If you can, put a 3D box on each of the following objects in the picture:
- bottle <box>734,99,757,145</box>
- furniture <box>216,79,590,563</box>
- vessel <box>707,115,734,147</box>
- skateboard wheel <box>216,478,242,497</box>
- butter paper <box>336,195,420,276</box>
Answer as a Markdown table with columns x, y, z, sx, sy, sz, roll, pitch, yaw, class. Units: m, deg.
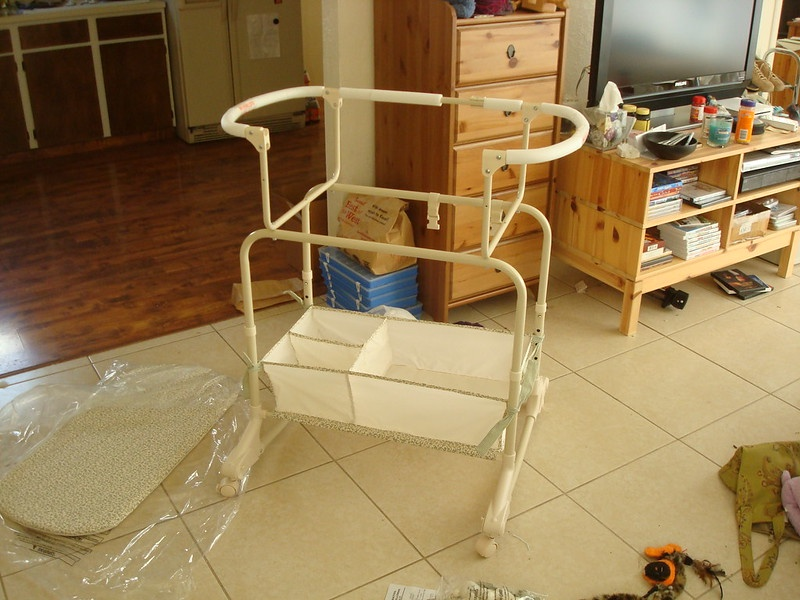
| x | y | z | sx | sy | sz | roll | pitch | yaw | class |
| --- | --- | --- | --- | --- | --- | --- | --- | --- | --- |
| 1.737 | -0.885 | 3.128 | 0.088 | 0.207 | 0.088 | -6 | 28 | 3 | bottle |
| 0.003 | 0.002 | 2.237 | 1.205 | 1.179 | 0.979 | 9 | 27 | 17 | furniture |
| 1.591 | -0.837 | 3.123 | 0.107 | 0.131 | 0.212 | 10 | 28 | 23 | vessel |
| -0.624 | 0.687 | 2.293 | 0.063 | 0.073 | 0.041 | 10 | 33 | -3 | skateboard wheel |
| -0.120 | -0.382 | 3.188 | 0.298 | 0.346 | 0.517 | -16 | 30 | -27 | butter paper |
